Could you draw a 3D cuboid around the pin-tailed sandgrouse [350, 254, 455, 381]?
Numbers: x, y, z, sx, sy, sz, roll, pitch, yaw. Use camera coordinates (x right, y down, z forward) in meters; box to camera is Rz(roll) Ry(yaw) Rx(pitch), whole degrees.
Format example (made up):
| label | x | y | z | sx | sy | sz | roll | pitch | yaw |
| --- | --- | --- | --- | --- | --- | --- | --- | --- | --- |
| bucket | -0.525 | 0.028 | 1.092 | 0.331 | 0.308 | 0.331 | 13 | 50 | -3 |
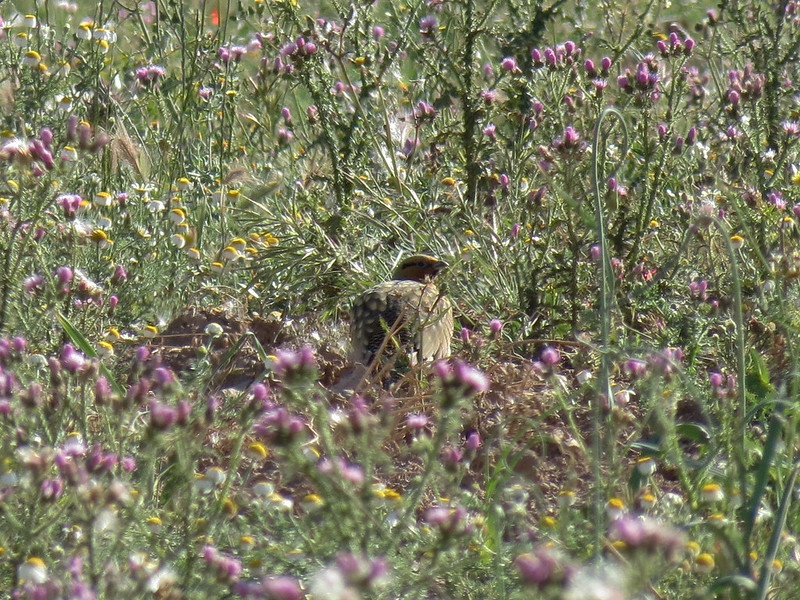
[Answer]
| label | x | y | z | sx | sy | sz | roll | pitch | yaw |
| --- | --- | --- | --- | --- | --- | --- | --- | --- | --- |
| pin-tailed sandgrouse | 0.026 | 0.003 | 6.964 | 0.492 | 0.542 | 0.389 | -4 | 24 | 31 |
